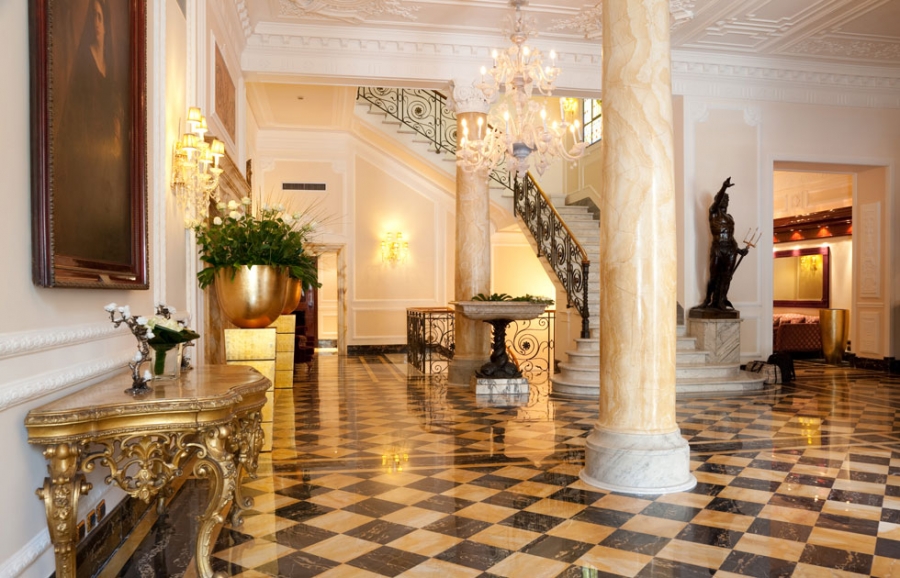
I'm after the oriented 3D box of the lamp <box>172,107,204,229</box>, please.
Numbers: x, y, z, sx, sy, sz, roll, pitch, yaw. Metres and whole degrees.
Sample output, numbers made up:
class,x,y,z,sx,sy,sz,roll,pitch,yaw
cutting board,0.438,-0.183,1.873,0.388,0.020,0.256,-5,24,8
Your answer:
class,x,y,z,sx,sy,sz,roll,pitch,yaw
lamp,-2.454,-1.135,5.810,0.299,1.057,0.636,-2,4,-19

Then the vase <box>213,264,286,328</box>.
class,x,y,z,sx,sy,sz,roll,pitch,yaw
vase,-1.753,0.048,5.664,0.605,0.450,0.593,-1,2,11

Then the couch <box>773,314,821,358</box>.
class,x,y,z,sx,sy,sz,roll,pitch,yaw
couch,7.346,1.011,13.028,0.954,0.901,0.975,-1,1,5

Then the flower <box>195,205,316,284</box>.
class,x,y,z,sx,sy,sz,roll,pitch,yaw
flower,-1.719,-0.425,5.961,1.136,0.752,1.032,-1,-8,24

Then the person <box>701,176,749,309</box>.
class,x,y,z,sx,sy,sz,roll,pitch,yaw
person,4.376,-0.720,9.927,0.557,2.068,0.373,1,4,22

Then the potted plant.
class,x,y,z,sx,sy,sz,roll,pitch,yaw
potted plant,0.793,0.701,9.184,1.332,1.081,1.236,1,-5,-6

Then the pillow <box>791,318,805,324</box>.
class,x,y,z,sx,sy,sz,roll,pitch,yaw
pillow,7.570,0.677,13.354,0.160,0.077,0.223,0,2,13

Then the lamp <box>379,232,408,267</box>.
class,x,y,z,sx,sy,sz,roll,pitch,yaw
lamp,-1.387,-0.970,14.740,0.799,0.913,0.400,2,7,0

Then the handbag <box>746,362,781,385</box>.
class,x,y,z,sx,sy,sz,roll,pitch,yaw
handbag,5.032,1.316,9.856,0.280,0.268,0.690,26,1,-6
